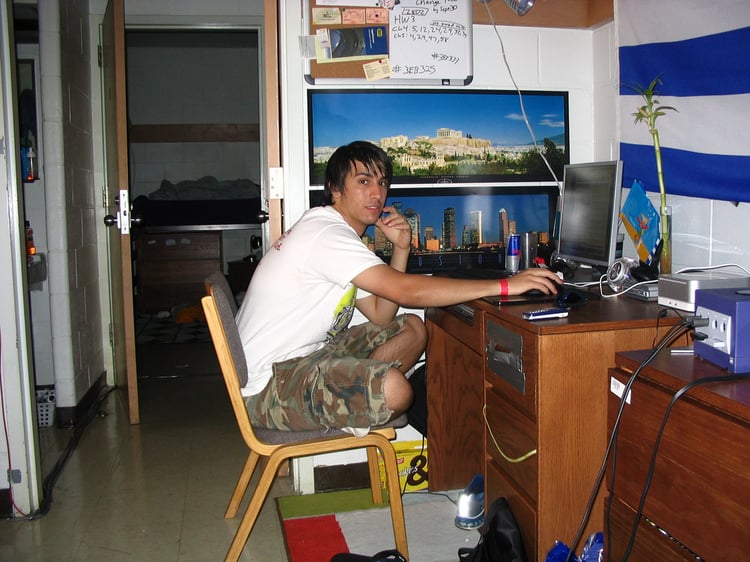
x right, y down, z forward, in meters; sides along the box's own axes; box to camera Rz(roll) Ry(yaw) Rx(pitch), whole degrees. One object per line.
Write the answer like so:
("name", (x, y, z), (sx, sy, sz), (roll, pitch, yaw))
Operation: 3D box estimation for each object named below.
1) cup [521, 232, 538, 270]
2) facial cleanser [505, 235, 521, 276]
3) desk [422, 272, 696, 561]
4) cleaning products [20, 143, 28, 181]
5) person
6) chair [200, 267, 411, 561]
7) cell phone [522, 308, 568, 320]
("cup", (0.686, -0.136, 2.539), (0.087, 0.149, 0.104), (-1, 7, -1))
("facial cleanser", (0.599, -0.129, 2.518), (0.069, 0.176, 0.071), (6, 22, 29))
("desk", (0.538, 0.352, 2.192), (0.607, 1.151, 1.180), (0, 5, -7))
("cleaning products", (-2.019, -0.680, 3.379), (0.031, 0.217, 0.113), (-5, 10, -29))
("person", (0.070, 0.061, 2.187), (1.161, 1.162, 0.789), (1, 7, 25))
("chair", (-0.237, 0.466, 2.621), (0.943, 1.422, 0.861), (-1, 1, -8))
("cell phone", (0.503, 0.095, 1.718), (0.145, 0.024, 0.073), (-4, 11, -26))
